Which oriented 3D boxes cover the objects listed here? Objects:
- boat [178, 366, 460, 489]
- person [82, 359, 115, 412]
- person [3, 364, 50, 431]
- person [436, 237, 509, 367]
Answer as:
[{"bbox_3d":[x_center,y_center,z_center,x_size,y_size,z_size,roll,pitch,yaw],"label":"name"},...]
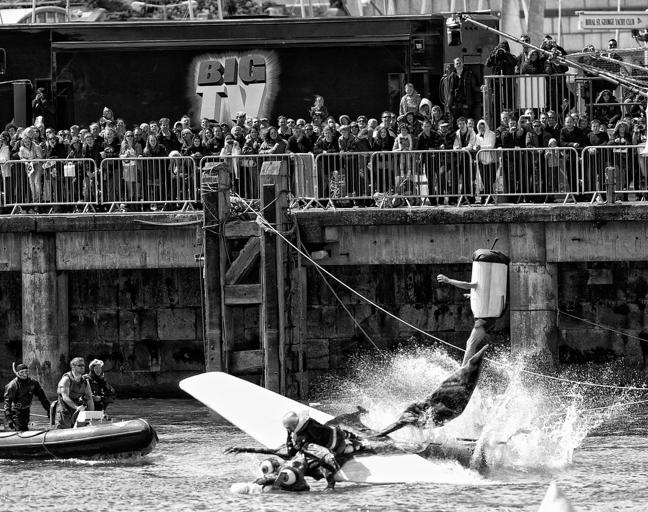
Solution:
[{"bbox_3d":[-0.358,3.322,43.495,5.367,2.020,1.577,-1,1,39],"label":"boat"},{"bbox_3d":[-4.329,2.588,44.603,0.420,1.147,0.449,-2,2,-14],"label":"person"},{"bbox_3d":[-5.726,2.857,44.567,0.658,1.583,0.732,0,2,24],"label":"person"},{"bbox_3d":[2.995,0.915,42.790,0.981,2.342,0.732,-1,1,0],"label":"person"}]
